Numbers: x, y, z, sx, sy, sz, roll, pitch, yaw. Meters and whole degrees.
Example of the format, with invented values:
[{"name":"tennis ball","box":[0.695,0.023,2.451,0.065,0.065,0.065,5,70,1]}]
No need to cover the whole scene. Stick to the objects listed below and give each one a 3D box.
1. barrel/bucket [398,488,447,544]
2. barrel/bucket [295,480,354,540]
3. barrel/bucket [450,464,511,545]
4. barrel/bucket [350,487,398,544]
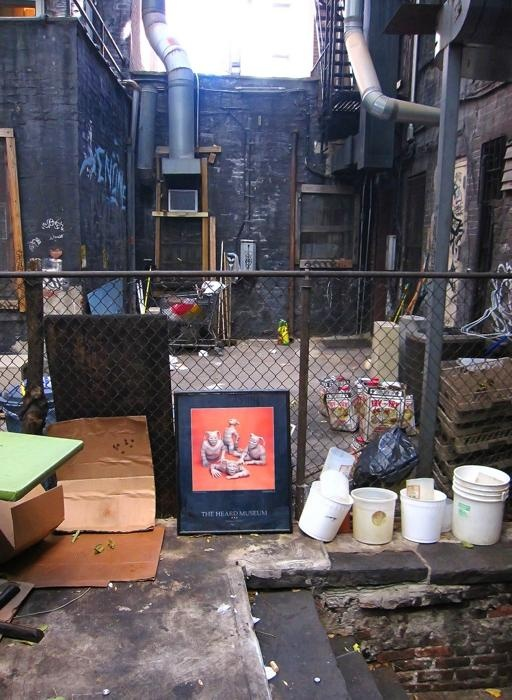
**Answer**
[{"name":"barrel/bucket","box":[0.969,0.959,3.350,0.264,0.230,0.300,12,-11,-38]},{"name":"barrel/bucket","box":[0.399,0.947,3.292,0.293,0.222,0.292,12,-6,1]},{"name":"barrel/bucket","box":[1.257,0.854,3.400,0.370,0.418,0.380,0,9,0]},{"name":"barrel/bucket","box":[0.640,0.928,3.343,0.276,0.258,0.270,-1,6,0]}]
